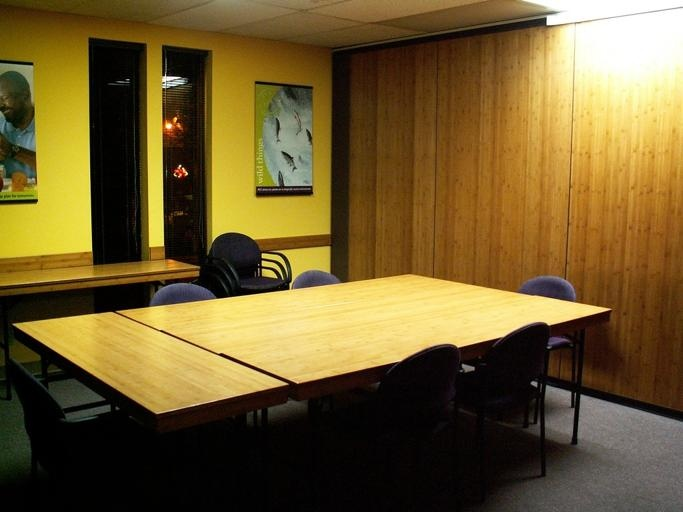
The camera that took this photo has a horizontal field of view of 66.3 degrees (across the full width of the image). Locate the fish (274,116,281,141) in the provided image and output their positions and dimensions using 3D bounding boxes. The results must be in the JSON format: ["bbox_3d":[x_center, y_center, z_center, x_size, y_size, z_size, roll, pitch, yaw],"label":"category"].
[{"bbox_3d":[-0.752,-1.510,6.222,0.053,0.262,0.053,2,3,12],"label":"fish"}]
